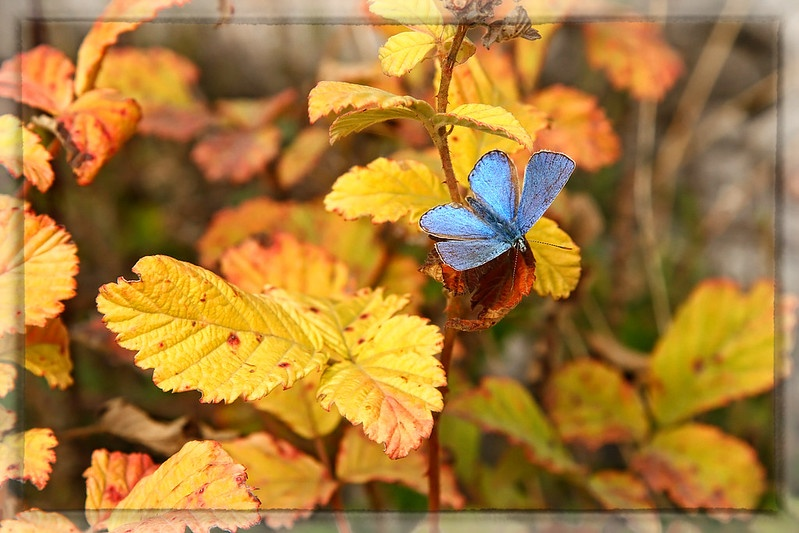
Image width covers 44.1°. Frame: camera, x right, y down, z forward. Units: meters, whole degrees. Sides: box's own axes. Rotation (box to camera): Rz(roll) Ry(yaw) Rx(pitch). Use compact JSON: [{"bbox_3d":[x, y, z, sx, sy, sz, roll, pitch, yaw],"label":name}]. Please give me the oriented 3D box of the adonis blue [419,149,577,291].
[{"bbox_3d":[0.161,-0.081,1.816,0.191,0.361,0.105,22,47,-20],"label":"adonis blue"}]
